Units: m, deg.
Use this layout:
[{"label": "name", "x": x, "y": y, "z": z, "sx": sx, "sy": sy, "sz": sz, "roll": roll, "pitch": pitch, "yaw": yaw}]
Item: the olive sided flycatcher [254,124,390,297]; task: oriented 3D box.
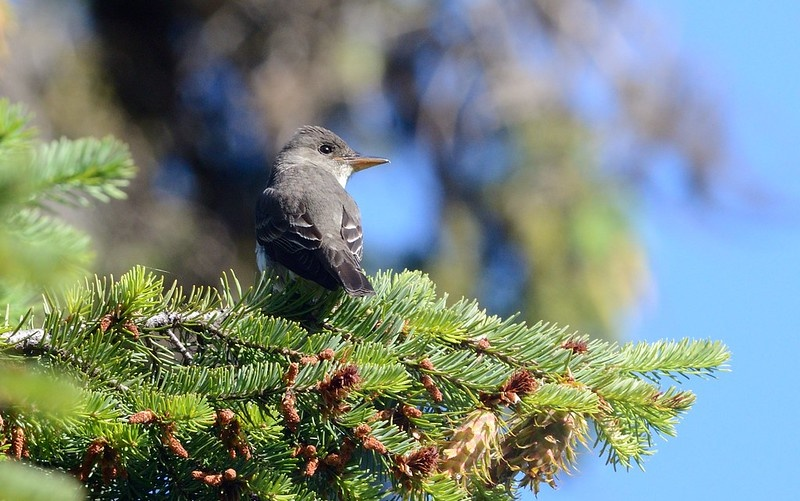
[{"label": "olive sided flycatcher", "x": -0.788, "y": -0.247, "z": 10.432, "sx": 0.970, "sy": 1.699, "sz": 3.086, "roll": 0, "pitch": 10, "yaw": -5}]
